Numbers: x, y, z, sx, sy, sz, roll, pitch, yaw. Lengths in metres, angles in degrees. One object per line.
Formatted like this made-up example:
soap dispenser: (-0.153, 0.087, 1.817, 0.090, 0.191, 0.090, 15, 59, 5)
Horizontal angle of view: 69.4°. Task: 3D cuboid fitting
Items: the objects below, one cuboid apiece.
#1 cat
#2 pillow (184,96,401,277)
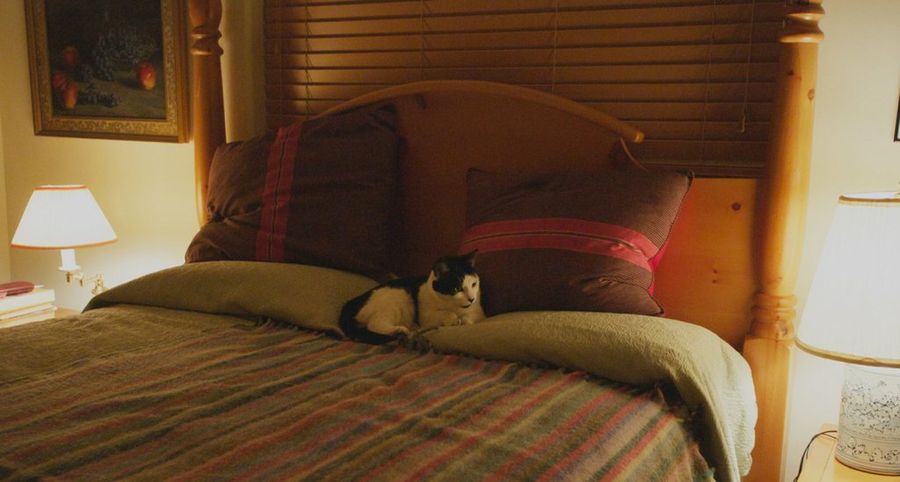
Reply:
cat: (-0.155, 0.268, 2.850, 0.631, 0.283, 0.449, -7, 9, 21)
pillow: (-0.836, -0.239, 3.441, 1.319, 0.782, 0.456, -3, -2, 30)
